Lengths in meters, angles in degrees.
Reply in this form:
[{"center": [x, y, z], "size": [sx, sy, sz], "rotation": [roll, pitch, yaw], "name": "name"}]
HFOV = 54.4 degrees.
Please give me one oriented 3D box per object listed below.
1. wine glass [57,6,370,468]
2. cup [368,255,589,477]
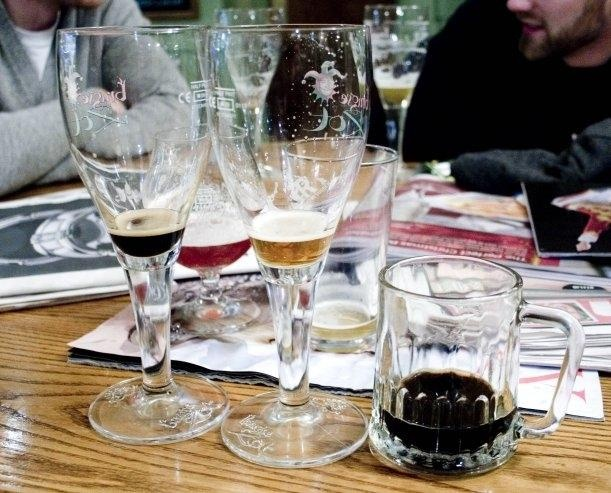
[{"center": [-0.057, -0.006, 0.419], "size": [0.233, 0.272, 0.176], "rotation": [10, 29, 19], "name": "wine glass"}, {"center": [0.094, 0.077, 0.400], "size": [0.095, 0.118, 0.102], "rotation": [0, 27, 0], "name": "cup"}]
